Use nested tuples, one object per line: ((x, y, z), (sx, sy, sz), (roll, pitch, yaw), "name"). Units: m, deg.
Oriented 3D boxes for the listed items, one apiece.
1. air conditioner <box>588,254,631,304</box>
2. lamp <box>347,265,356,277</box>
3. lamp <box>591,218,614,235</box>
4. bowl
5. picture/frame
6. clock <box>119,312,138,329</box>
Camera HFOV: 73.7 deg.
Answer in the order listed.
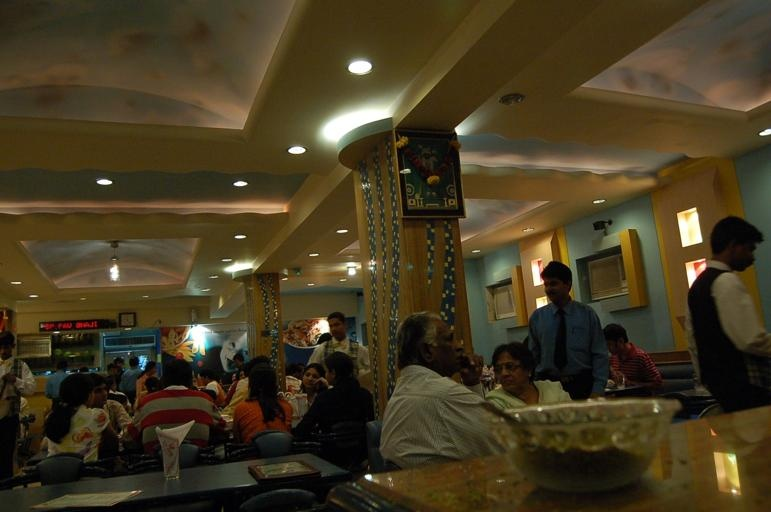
((3.922, 0.325, 9.381), (0.823, 0.731, 0.546), (-12, 8, -8), "air conditioner")
((-0.858, 0.340, 12.916), (0.246, 0.252, 0.239), (2, -7, -5), "lamp")
((3.751, -0.519, 9.039), (0.207, 0.308, 0.397), (2, -14, -30), "lamp")
((0.534, 0.501, 1.369), (0.346, 0.129, 0.334), (-5, -20, -2), "bowl")
((0.377, -0.776, 4.896), (0.971, 1.172, 0.132), (2, -13, -23), "picture/frame")
((-7.668, 1.892, 15.294), (0.511, 0.505, 0.054), (3, -17, -33), "clock")
